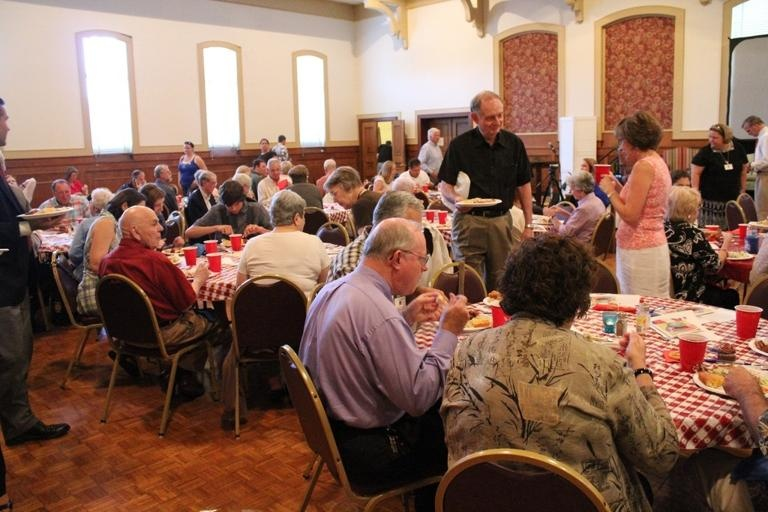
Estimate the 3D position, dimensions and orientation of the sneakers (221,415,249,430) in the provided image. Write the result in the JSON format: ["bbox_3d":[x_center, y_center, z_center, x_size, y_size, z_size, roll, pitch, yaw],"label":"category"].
[{"bbox_3d":[-1.110,1.206,4.306,0.183,0.078,0.085,-4,8,-43],"label":"sneakers"}]

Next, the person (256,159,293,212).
[{"bbox_3d":[-1.616,-1.026,8.733,0.461,0.743,0.384,2,-16,-4],"label":"person"}]

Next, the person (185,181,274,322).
[{"bbox_3d":[-1.516,-0.125,5.952,0.793,1.224,0.659,-3,13,1],"label":"person"}]

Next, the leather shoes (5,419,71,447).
[{"bbox_3d":[-2.486,1.255,4.207,0.411,0.153,0.149,-7,8,-33],"label":"leather shoes"}]

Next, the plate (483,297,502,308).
[{"bbox_3d":[0.661,0.277,3.541,0.115,0.031,0.114,-7,6,-25],"label":"plate"}]

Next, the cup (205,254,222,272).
[{"bbox_3d":[-1.354,0.047,4.652,0.134,0.135,0.130,-2,6,0],"label":"cup"}]

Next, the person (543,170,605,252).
[{"bbox_3d":[2.121,-0.356,6.396,0.615,1.132,0.559,4,32,19],"label":"person"}]

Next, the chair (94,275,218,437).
[{"bbox_3d":[-1.734,0.617,4.377,0.609,1.152,0.733,4,11,20],"label":"chair"}]

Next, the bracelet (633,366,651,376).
[{"bbox_3d":[1.148,0.504,2.587,0.051,0.019,0.053,-3,1,37],"label":"bracelet"}]

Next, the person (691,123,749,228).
[{"bbox_3d":[4.094,-0.824,7.128,0.569,1.477,0.493,-3,25,17],"label":"person"}]

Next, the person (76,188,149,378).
[{"bbox_3d":[-2.393,0.199,5.096,0.774,1.535,0.660,1,8,-40],"label":"person"}]

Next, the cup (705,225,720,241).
[{"bbox_3d":[2.948,-0.205,5.236,0.161,0.122,0.164,-1,12,0],"label":"cup"}]

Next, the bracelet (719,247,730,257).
[{"bbox_3d":[2.670,-0.019,4.582,0.078,0.059,0.077,-16,14,-18],"label":"bracelet"}]

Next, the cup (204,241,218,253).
[{"bbox_3d":[-1.435,-0.075,4.834,0.121,0.092,0.113,-2,7,0],"label":"cup"}]

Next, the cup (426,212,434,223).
[{"bbox_3d":[0.525,-0.440,6.650,0.119,0.121,0.118,0,3,0],"label":"cup"}]

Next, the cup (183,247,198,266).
[{"bbox_3d":[-1.625,0.001,4.826,0.143,0.147,0.145,-4,1,0],"label":"cup"}]

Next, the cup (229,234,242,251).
[{"bbox_3d":[-1.336,-0.123,5.307,0.136,0.131,0.134,-1,6,0],"label":"cup"}]

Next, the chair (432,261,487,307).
[{"bbox_3d":[0.511,0.177,3.833,0.280,0.434,0.295,1,2,-15],"label":"chair"}]

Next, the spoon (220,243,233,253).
[{"bbox_3d":[-1.466,-0.078,5.381,0.103,0.040,0.102,-7,25,-28],"label":"spoon"}]

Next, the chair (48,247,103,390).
[{"bbox_3d":[-2.514,0.497,5.172,0.664,1.112,0.600,-4,9,-23],"label":"chair"}]

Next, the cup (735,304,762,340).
[{"bbox_3d":[1.895,0.336,3.114,0.164,0.169,0.168,3,6,0],"label":"cup"}]

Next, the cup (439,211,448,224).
[{"bbox_3d":[0.665,-0.427,6.501,0.128,0.140,0.128,-2,6,0],"label":"cup"}]

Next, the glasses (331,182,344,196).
[{"bbox_3d":[-0.402,-0.563,4.959,0.079,0.026,0.084,-1,50,48],"label":"glasses"}]
